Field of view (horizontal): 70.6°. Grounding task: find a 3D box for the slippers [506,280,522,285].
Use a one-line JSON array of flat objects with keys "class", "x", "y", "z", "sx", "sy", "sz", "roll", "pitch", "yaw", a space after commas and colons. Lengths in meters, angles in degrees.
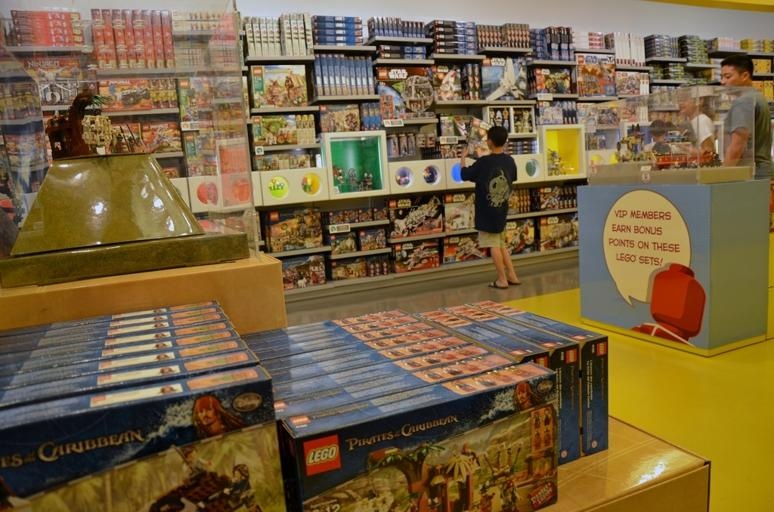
[{"class": "slippers", "x": 1.458, "y": 0.311, "z": 6.213, "sx": 0.055, "sy": 0.060, "sz": 0.151, "roll": -2, "pitch": 0, "yaw": -26}]
